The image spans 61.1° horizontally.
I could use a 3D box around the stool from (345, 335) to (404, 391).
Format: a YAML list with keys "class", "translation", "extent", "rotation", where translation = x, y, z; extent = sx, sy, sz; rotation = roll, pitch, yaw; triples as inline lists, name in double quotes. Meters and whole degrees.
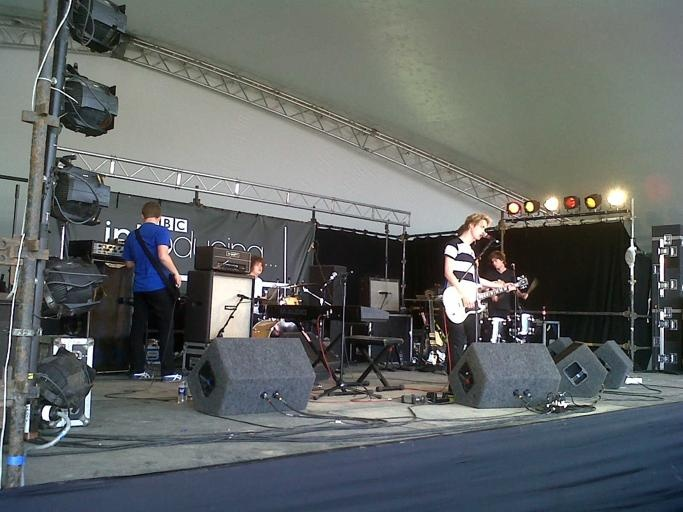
- class: "stool"
  translation: [0.329, 1.121, 6.085]
  extent: [0.342, 0.518, 0.565]
  rotation: [9, -13, -32]

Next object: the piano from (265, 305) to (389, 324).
- class: "piano"
  translation: [-0.195, 0.584, 5.876]
  extent: [1.375, 0.194, 0.408]
  rotation: [-2, -6, 42]

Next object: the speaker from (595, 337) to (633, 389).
- class: "speaker"
  translation: [3.015, 1.193, 6.516]
  extent: [0.372, 0.557, 0.529]
  rotation: [10, -2, 6]

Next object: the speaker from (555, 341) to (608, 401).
- class: "speaker"
  translation: [2.319, 1.116, 5.708]
  extent: [0.509, 0.530, 0.513]
  rotation: [6, -5, 23]

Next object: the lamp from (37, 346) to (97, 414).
- class: "lamp"
  translation: [-1.702, 0.775, 3.601]
  extent: [0.347, 0.350, 0.283]
  rotation: [-13, -40, 26]

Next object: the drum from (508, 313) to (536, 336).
- class: "drum"
  translation: [2.867, 1.091, 9.240]
  extent: [0.393, 0.386, 0.212]
  rotation: [5, -8, -39]

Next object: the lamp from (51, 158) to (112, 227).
- class: "lamp"
  translation: [-1.745, -0.415, 3.843]
  extent: [0.434, 0.516, 0.350]
  rotation: [4, 1, -38]

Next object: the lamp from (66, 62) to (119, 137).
- class: "lamp"
  translation: [-1.741, -1.044, 3.985]
  extent: [0.374, 0.359, 0.253]
  rotation: [6, -5, -42]

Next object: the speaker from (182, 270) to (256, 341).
- class: "speaker"
  translation: [-1.451, 0.600, 6.858]
  extent: [0.774, 0.847, 0.422]
  rotation: [3, -4, -16]

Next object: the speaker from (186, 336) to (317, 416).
- class: "speaker"
  translation: [-0.741, 0.831, 4.517]
  extent: [0.932, 0.628, 0.563]
  rotation: [3, 5, -41]

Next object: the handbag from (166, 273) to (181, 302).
- class: "handbag"
  translation: [-1.864, 0.342, 6.386]
  extent: [0.091, 0.270, 0.182]
  rotation: [-16, 4, -18]

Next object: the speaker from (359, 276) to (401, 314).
- class: "speaker"
  translation: [0.630, 0.710, 10.091]
  extent: [0.907, 0.883, 0.494]
  rotation: [3, -8, -36]

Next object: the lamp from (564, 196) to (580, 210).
- class: "lamp"
  translation: [4.138, -0.947, 10.378]
  extent: [0.226, 0.247, 0.241]
  rotation: [-1, 2, 15]

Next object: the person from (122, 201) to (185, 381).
- class: "person"
  translation: [-2.064, 0.366, 6.397]
  extent: [0.855, 1.921, 0.416]
  rotation: [0, -4, 27]

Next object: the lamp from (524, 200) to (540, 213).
- class: "lamp"
  translation: [3.569, -0.940, 10.875]
  extent: [0.263, 0.260, 0.301]
  rotation: [2, -4, 7]

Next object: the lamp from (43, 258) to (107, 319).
- class: "lamp"
  translation: [-1.838, 0.179, 3.797]
  extent: [0.426, 0.241, 0.370]
  rotation: [6, 7, 38]

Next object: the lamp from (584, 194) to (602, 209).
- class: "lamp"
  translation: [4.407, -0.978, 10.113]
  extent: [0.226, 0.290, 0.350]
  rotation: [0, -5, 31]
